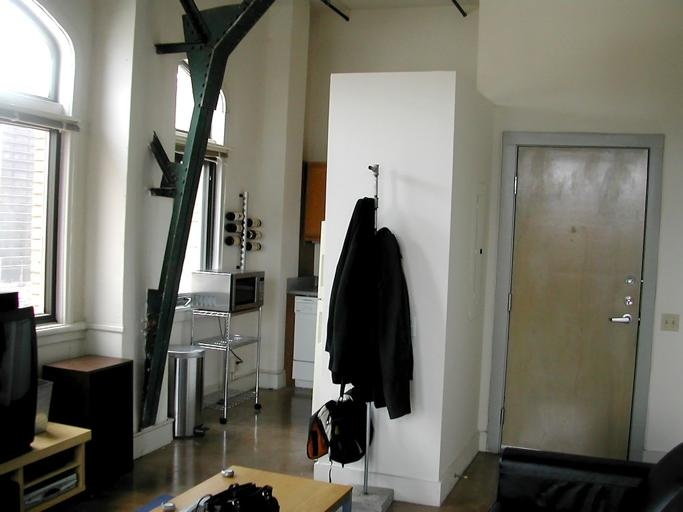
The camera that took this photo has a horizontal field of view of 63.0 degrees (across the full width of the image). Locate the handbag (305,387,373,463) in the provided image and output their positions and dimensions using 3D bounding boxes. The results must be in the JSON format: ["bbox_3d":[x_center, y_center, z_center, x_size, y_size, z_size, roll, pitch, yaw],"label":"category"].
[{"bbox_3d":[-0.013,1.225,4.010,0.538,0.530,0.151,-1,5,-26],"label":"handbag"}]

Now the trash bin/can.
[{"bbox_3d":[-1.436,1.263,5.145,0.340,0.786,0.231,0,5,-20],"label":"trash bin/can"}]

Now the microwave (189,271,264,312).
[{"bbox_3d":[-1.194,0.356,5.654,0.384,0.316,0.582,2,2,17],"label":"microwave"}]
